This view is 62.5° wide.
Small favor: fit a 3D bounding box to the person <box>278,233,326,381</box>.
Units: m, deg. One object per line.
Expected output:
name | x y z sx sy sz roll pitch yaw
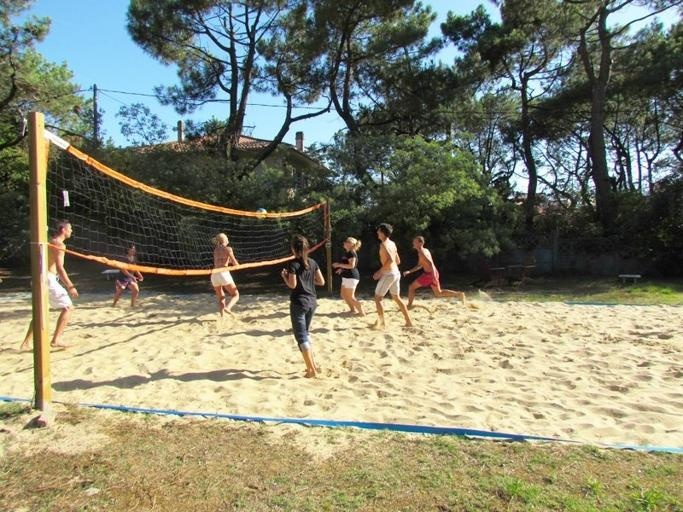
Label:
person | -0.486 0.652 7.426 0.541 1.852 0.289 -5 0 -40
